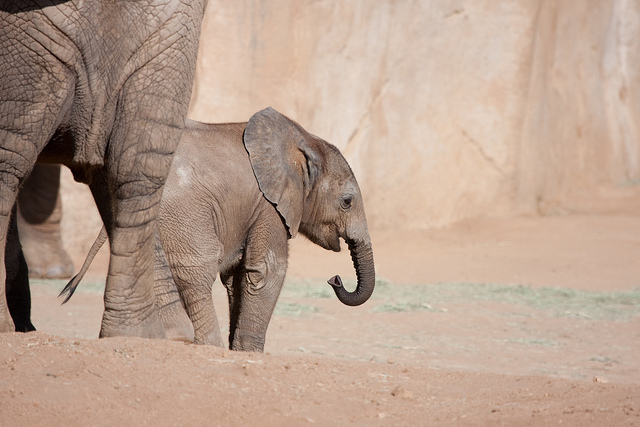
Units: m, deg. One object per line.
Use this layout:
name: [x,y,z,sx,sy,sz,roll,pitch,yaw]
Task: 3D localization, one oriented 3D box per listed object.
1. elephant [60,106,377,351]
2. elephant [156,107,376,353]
elephant: [-0.713,0.235,11.521,2.817,2.013,1.342,1,13,-27]
elephant: [-0.611,0.242,11.580,2.636,2.184,1.555,-1,4,-38]
